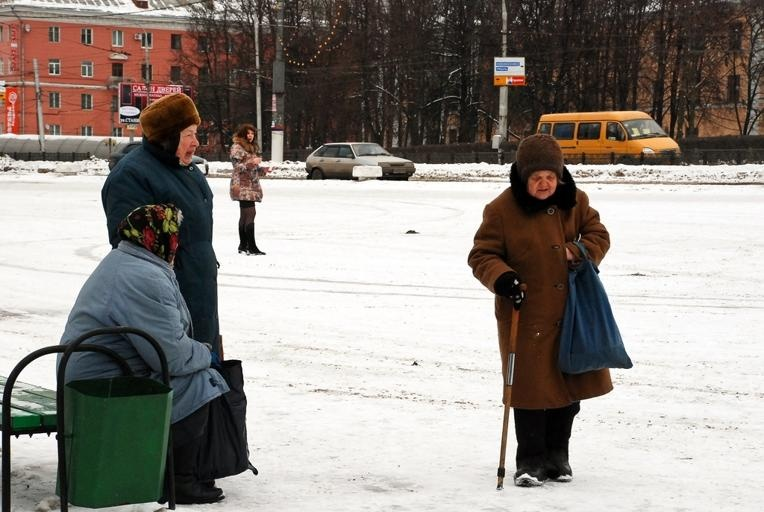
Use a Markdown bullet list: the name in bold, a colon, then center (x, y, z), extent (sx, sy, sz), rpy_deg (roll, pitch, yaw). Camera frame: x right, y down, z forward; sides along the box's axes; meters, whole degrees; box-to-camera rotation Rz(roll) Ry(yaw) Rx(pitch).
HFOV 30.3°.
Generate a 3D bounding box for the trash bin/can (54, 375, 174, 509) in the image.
- **trash bin/can**: center (-3.300, 2.142, 17.077), extent (1.752, 1.831, 1.456), rpy_deg (1, -1, -29)

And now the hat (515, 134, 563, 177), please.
- **hat**: center (1.975, -1.237, 17.727), extent (0.613, 0.529, 0.629), rpy_deg (-2, 6, 10)

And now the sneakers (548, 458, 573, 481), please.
- **sneakers**: center (2.196, 2.660, 17.498), extent (0.189, 0.218, 0.531), rpy_deg (-1, -13, 7)

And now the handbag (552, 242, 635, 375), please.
- **handbag**: center (2.614, 0.670, 17.482), extent (0.817, 1.622, 0.381), rpy_deg (1, 7, 7)

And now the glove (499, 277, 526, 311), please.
- **glove**: center (1.619, 0.448, 17.358), extent (0.321, 0.400, 0.163), rpy_deg (8, -39, -28)

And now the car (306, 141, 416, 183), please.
- **car**: center (-0.737, -3.102, 46.465), extent (2.700, 0.876, 1.587), rpy_deg (1, 3, 45)

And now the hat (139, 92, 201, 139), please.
- **hat**: center (-2.763, -1.758, 17.765), extent (0.843, 0.456, 0.675), rpy_deg (-20, 15, -24)

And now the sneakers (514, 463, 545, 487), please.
- **sneakers**: center (1.824, 2.720, 17.440), extent (0.386, 0.243, 0.170), rpy_deg (1, 7, 4)
